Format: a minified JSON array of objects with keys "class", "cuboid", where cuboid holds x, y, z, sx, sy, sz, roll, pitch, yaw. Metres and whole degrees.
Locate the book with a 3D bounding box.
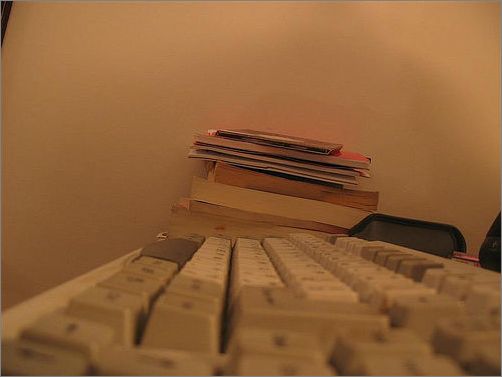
[{"class":"book","cuboid":[0.086,0.013,1.232,0.610,0.402,0.132,10,-23,6]}]
